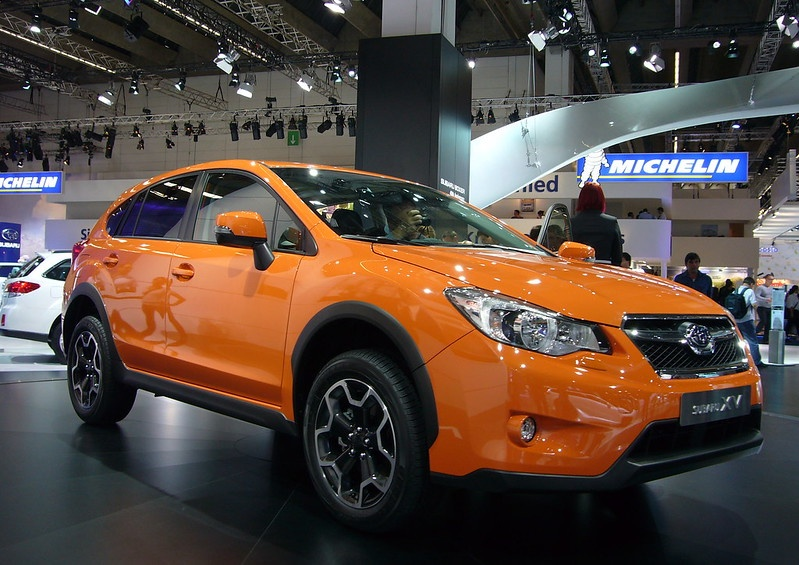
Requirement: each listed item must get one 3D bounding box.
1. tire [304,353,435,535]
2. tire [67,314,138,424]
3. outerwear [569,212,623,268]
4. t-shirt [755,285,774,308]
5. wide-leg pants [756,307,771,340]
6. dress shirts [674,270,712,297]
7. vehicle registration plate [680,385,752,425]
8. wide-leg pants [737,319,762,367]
[{"bbox_3d":[-0.128,0.721,2.238,0.218,0.724,0.616,-4,-16,-43],"label":"tire"},{"bbox_3d":[-2.057,0.600,3.496,0.572,0.685,0.209,29,11,37],"label":"tire"},{"bbox_3d":[1.821,-0.416,4.743,0.490,0.577,0.289,2,19,27],"label":"outerwear"},{"bbox_3d":[10.608,0.413,14.685,0.687,0.738,0.398,0,0,-37],"label":"t-shirt"},{"bbox_3d":[11.063,1.369,15.281,0.375,1.237,0.334,1,-2,-16],"label":"wide-leg pants"},{"bbox_3d":[3.382,0.002,5.783,0.399,0.451,0.233,0,-2,10],"label":"dress shirts"},{"bbox_3d":[1.330,0.524,2.120,0.391,0.141,0.019,-2,2,-18],"label":"vehicle registration plate"},{"bbox_3d":[5.891,0.926,8.530,0.349,0.290,1.157,-5,29,34],"label":"wide-leg pants"}]
